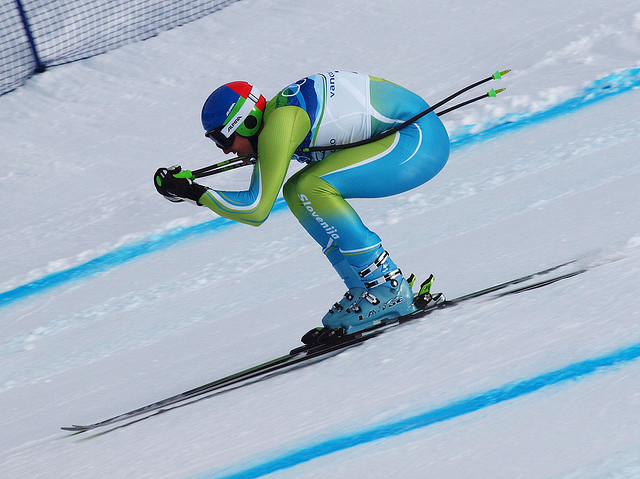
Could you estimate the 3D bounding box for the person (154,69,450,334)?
[{"bbox_3d":[0.182,-0.278,5.713,1.616,1.766,0.571,-40,22,-17],"label":"person"}]
